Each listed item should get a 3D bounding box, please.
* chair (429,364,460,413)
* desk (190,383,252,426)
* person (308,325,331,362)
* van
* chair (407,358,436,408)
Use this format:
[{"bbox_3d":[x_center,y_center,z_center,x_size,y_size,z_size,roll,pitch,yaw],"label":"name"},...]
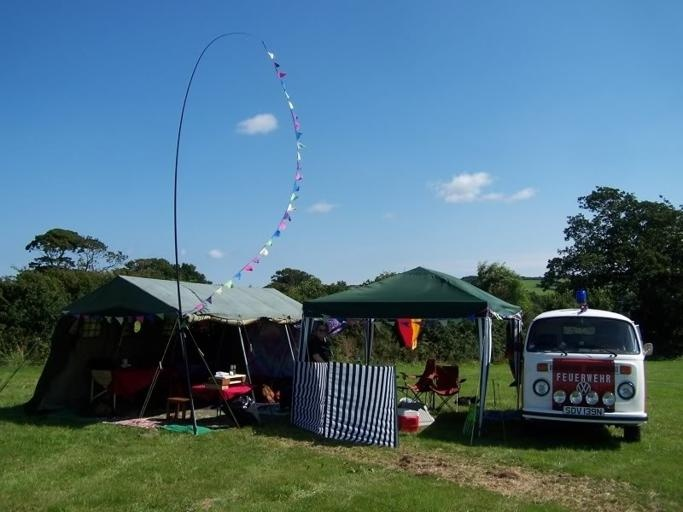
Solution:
[{"bbox_3d":[2.442,3.082,14.294,0.785,1.019,0.753,2,-1,36],"label":"chair"},{"bbox_3d":[-2.721,3.312,13.746,1.108,0.631,1.133,-7,-7,36],"label":"desk"},{"bbox_3d":[-0.502,1.912,13.564,0.467,0.848,0.823,0,1,-3],"label":"person"},{"bbox_3d":[5.149,1.642,13.382,2.312,2.616,4.605,-1,18,17],"label":"van"},{"bbox_3d":[1.860,3.062,14.977,0.677,1.001,0.782,-1,-4,1],"label":"chair"}]
